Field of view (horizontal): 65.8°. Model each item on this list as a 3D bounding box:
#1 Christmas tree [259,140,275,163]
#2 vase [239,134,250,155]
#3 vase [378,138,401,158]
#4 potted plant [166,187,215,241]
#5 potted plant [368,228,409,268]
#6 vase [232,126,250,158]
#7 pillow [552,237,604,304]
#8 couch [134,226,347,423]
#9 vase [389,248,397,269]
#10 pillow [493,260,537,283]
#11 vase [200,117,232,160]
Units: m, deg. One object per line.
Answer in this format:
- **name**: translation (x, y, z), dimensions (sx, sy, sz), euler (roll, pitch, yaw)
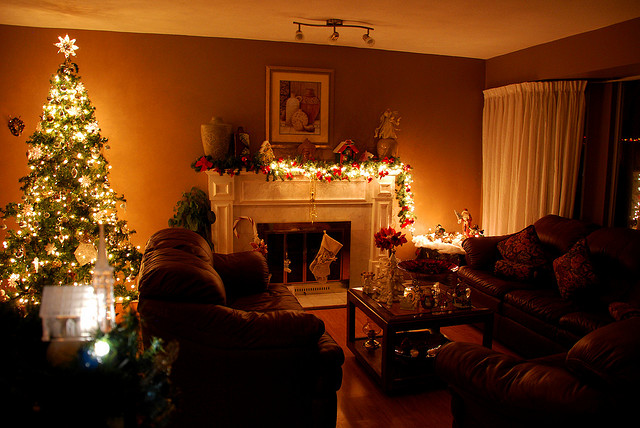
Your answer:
- **Christmas tree**: translation (-0.658, -0.766, 6.038), dimensions (0.229, 0.242, 0.233), euler (-1, 2, -16)
- **vase**: translation (-0.926, -0.856, 6.045), dimensions (0.125, 0.258, 0.269), euler (1, 5, -9)
- **vase**: translation (0.897, -0.826, 6.418), dimensions (0.239, 0.260, 0.242), euler (18, -21, 6)
- **potted plant**: translation (-1.489, -0.007, 5.906), dimensions (0.567, 0.808, 0.569), euler (-4, 6, -11)
- **potted plant**: translation (0.658, 0.321, 4.725), dimensions (0.258, 0.375, 0.236), euler (3, 5, 19)
- **vase**: translation (-0.967, -0.879, 6.029), dimensions (0.208, 0.382, 0.285), euler (1, 5, -9)
- **pillow**: translation (2.441, 0.540, 4.788), dimensions (0.354, 0.514, 0.511), euler (4, 9, 8)
- **couch**: translation (-0.675, 0.290, 3.951), dimensions (1.348, 1.178, 2.341), euler (-1, 7, -16)
- **vase**: translation (0.695, 0.416, 4.695), dimensions (0.072, 0.164, 0.183), euler (2, 5, 8)
- **pillow**: translation (2.035, 0.602, 5.162), dimensions (0.369, 0.188, 0.166), euler (-1, 21, 33)
- **vase**: translation (-1.263, -0.891, 5.971), dimensions (0.392, 0.561, 0.361), euler (-6, 13, -19)
